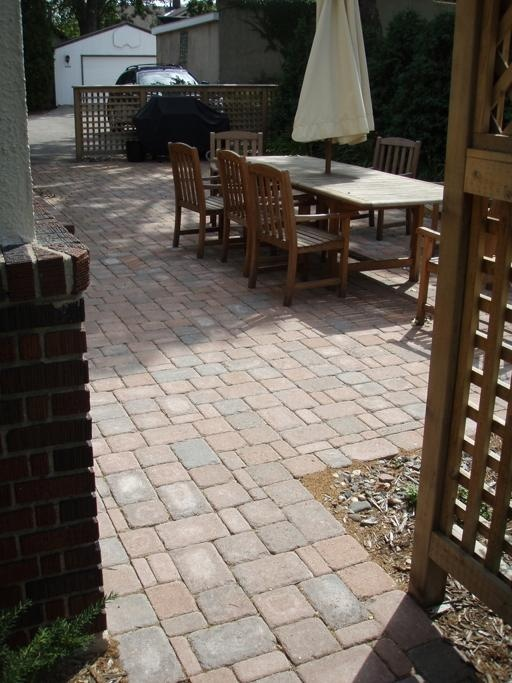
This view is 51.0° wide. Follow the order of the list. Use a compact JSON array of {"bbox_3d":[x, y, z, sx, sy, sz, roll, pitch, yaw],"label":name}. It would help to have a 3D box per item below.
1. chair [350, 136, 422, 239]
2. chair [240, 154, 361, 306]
[{"bbox_3d":[1.963,-2.159,7.242,1.001,1.237,1.025,14,15,35],"label":"chair"},{"bbox_3d":[0.424,-1.094,5.300,0.977,1.202,1.000,-2,23,-5],"label":"chair"}]
